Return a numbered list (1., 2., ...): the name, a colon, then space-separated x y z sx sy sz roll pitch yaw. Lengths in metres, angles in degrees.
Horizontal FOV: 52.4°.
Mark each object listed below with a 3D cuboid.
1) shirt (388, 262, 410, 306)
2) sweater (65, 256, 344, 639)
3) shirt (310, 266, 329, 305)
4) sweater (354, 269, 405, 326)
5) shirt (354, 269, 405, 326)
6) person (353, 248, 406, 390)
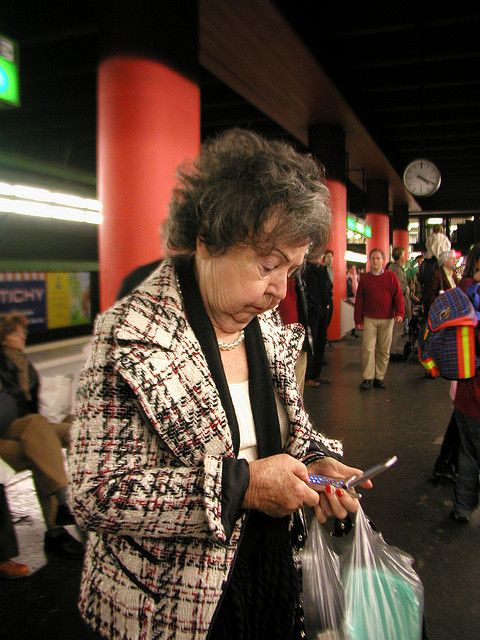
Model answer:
1. shirt: 2.968 -0.642 8.934 0.543 0.772 0.254 -12 8 -33
2. sweater: -0.018 0.245 1.197 0.543 0.880 0.687 0 -1 28
3. shirt: 1.135 -0.496 6.872 0.323 0.471 0.158 -8 2 -27
4. sweater: 1.884 -0.302 6.652 0.637 0.749 0.293 1 6 15
5. shirt: 1.908 -0.304 6.711 0.655 0.813 0.368 1 3 24
6. person: 1.885 -0.021 6.654 0.607 1.925 0.537 1 2 13
